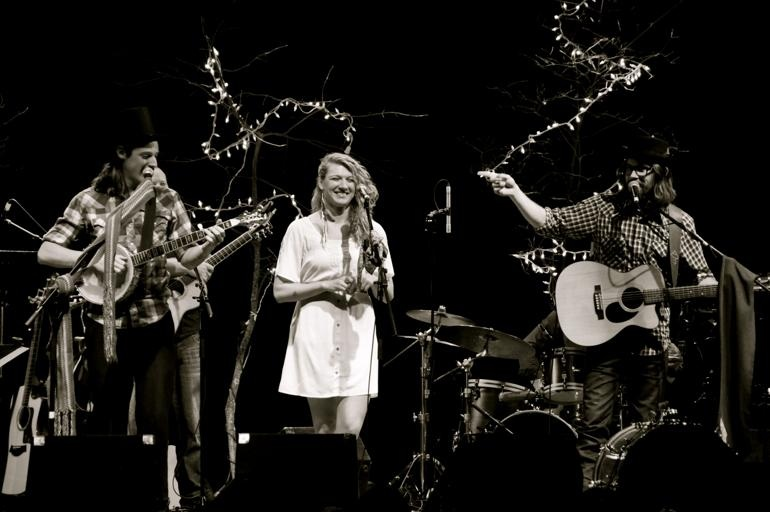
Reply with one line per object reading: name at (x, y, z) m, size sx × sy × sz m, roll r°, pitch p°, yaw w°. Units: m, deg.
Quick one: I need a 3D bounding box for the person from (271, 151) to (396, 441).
person at (-0.403, 0.250, 6.999) m, size 0.884 × 2.168 × 0.473 m, roll -2°, pitch -11°, yaw 2°

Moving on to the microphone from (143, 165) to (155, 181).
microphone at (-1.787, -0.630, 6.918) m, size 0.085 × 0.082 × 0.106 m, roll 3°, pitch -53°, yaw -10°

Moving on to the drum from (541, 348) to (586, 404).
drum at (1.591, 1.106, 8.261) m, size 0.493 × 0.442 × 0.485 m, roll 1°, pitch -25°, yaw 0°

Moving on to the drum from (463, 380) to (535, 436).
drum at (1.095, 1.482, 8.594) m, size 0.751 × 0.523 × 0.671 m, roll 12°, pitch -15°, yaw -6°

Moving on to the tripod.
tripod at (0.273, 1.337, 7.771) m, size 0.488 × 1.521 × 1.209 m, roll -1°, pitch -11°, yaw 0°
